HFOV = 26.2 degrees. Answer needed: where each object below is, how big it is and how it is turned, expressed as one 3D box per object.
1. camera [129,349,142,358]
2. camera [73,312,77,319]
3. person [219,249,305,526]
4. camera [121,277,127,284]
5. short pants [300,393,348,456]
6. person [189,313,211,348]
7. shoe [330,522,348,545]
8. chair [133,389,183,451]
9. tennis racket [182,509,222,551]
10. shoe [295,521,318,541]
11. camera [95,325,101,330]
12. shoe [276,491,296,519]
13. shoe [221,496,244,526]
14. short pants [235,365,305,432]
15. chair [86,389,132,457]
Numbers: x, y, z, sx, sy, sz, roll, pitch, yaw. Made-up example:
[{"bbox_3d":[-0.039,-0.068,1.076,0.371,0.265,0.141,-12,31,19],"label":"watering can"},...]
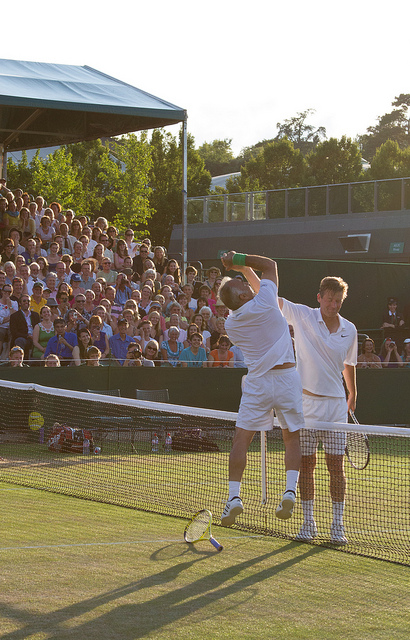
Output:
[{"bbox_3d":[-0.922,0.443,11.563,0.148,0.092,0.069,2,0,-4],"label":"camera"},{"bbox_3d":[-1.749,-0.056,11.765,0.064,0.085,0.051,2,-10,-9],"label":"camera"},{"bbox_3d":[0.336,0.411,5.410,0.546,1.559,0.724,2,0,3],"label":"person"},{"bbox_3d":[-1.297,-0.613,13.981,0.050,0.086,0.119,2,0,39],"label":"camera"},{"bbox_3d":[0.819,0.720,6.118,0.330,0.483,0.274,7,3,7],"label":"short pants"},{"bbox_3d":[-0.065,0.158,12.972,0.287,0.445,0.806,2,0,-1],"label":"person"},{"bbox_3d":[0.898,1.435,5.924,0.118,0.177,0.096,-14,-20,33],"label":"shoe"},{"bbox_3d":[-0.611,1.082,10.863,0.490,0.954,0.595,4,-14,-22],"label":"chair"},{"bbox_3d":[-0.029,1.332,5.603,0.044,0.187,0.305,22,11,-32],"label":"tennis racket"},{"bbox_3d":[0.710,1.433,6.014,0.120,0.130,0.031,5,-1,35],"label":"shoe"},{"bbox_3d":[-1.435,0.108,11.686,0.063,0.045,0.063,2,-6,-26],"label":"camera"},{"bbox_3d":[0.475,1.067,5.110,0.078,0.167,0.156,13,13,7],"label":"shoe"},{"bbox_3d":[0.162,1.119,5.178,0.082,0.085,0.199,7,-45,-6],"label":"shoe"},{"bbox_3d":[0.406,0.468,5.539,0.437,0.437,0.270,-1,16,3],"label":"short pants"},{"bbox_3d":[-1.224,1.232,10.536,0.775,0.801,0.508,4,-4,-42],"label":"chair"}]
